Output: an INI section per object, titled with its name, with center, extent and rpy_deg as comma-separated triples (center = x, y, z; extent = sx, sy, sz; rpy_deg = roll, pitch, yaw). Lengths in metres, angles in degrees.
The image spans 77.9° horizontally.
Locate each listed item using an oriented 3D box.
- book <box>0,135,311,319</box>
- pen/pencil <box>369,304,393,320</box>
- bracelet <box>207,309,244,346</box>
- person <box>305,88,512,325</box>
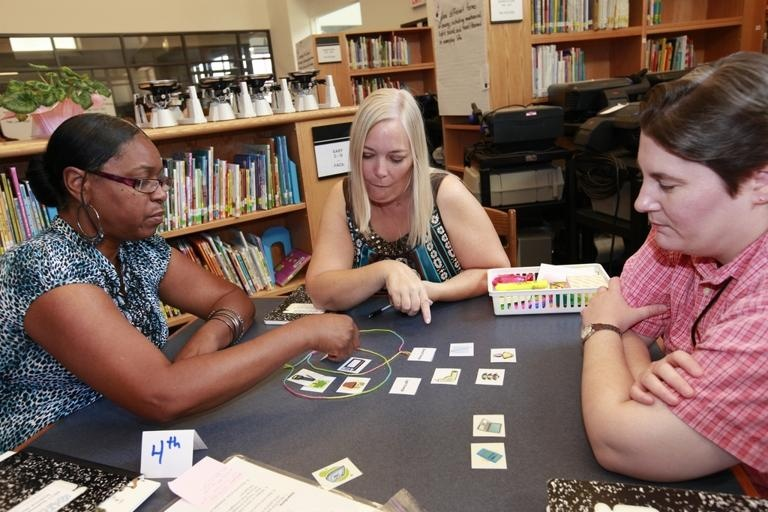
[book]
center = -0.951, -0.149, 2.041
extent = 1.100, 0.608, 0.329
rpy_deg = -16, 16, -39
[pen/pencil]
center = -0.009, 0.205, 1.738
extent = 0.018, 0.018, 0.113
rpy_deg = 16, 32, 37
[bracelet]
center = -0.546, 0.237, 1.681
extent = 0.115, 0.119, 0.055
rpy_deg = 30, 25, 5
[person]
center = 0.073, -0.131, 2.011
extent = 0.854, 0.968, 0.916
rpy_deg = -5, 20, -8
